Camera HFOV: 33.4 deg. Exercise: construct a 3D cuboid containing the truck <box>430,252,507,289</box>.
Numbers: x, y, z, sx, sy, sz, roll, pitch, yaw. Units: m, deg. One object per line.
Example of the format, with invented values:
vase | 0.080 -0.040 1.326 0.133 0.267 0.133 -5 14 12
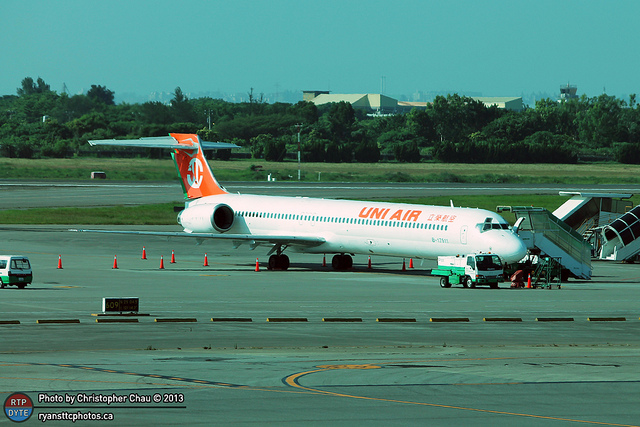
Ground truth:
truck | 8.072 3.011 57.553 3.350 1.898 0.975 2 9 9
